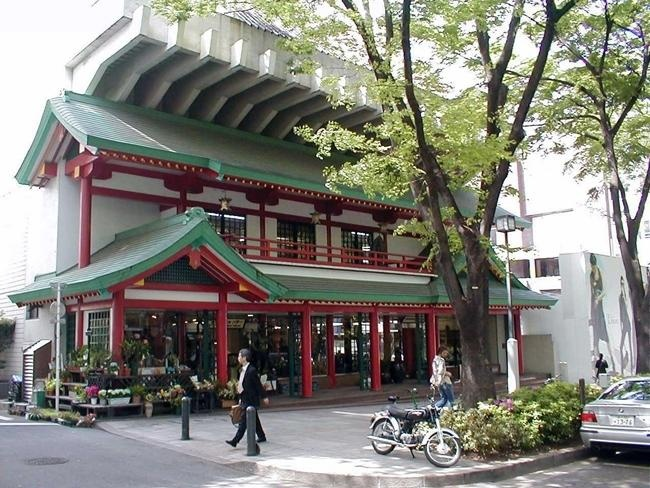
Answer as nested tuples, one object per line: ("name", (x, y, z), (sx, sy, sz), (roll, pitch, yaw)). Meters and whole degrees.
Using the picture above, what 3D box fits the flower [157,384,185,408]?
("flower", (-5.323, 5.187, 21.303), (0.931, 0.654, 0.808), (9, -11, -36))

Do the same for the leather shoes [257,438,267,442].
("leather shoes", (-1.629, 5.067, 15.942), (0.317, 0.134, 0.108), (-7, -8, 36))

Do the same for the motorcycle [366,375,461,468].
("motorcycle", (2.084, 4.284, 14.658), (2.684, 1.686, 1.124), (-8, -23, 45))

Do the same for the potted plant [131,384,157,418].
("potted plant", (-6.149, 5.272, 20.741), (0.617, 0.985, 0.985), (-6, -14, 42))

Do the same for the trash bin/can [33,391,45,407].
("trash bin/can", (-10.570, 5.712, 22.826), (0.406, 0.560, 0.311), (3, -14, -24))

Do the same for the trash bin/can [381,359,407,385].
("trash bin/can", (3.492, 6.808, 32.936), (1.065, 0.893, 1.129), (8, -12, -39))

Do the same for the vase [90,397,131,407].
("vase", (-6.935, 5.185, 20.340), (0.996, 0.302, 0.460), (2, -14, -20))
